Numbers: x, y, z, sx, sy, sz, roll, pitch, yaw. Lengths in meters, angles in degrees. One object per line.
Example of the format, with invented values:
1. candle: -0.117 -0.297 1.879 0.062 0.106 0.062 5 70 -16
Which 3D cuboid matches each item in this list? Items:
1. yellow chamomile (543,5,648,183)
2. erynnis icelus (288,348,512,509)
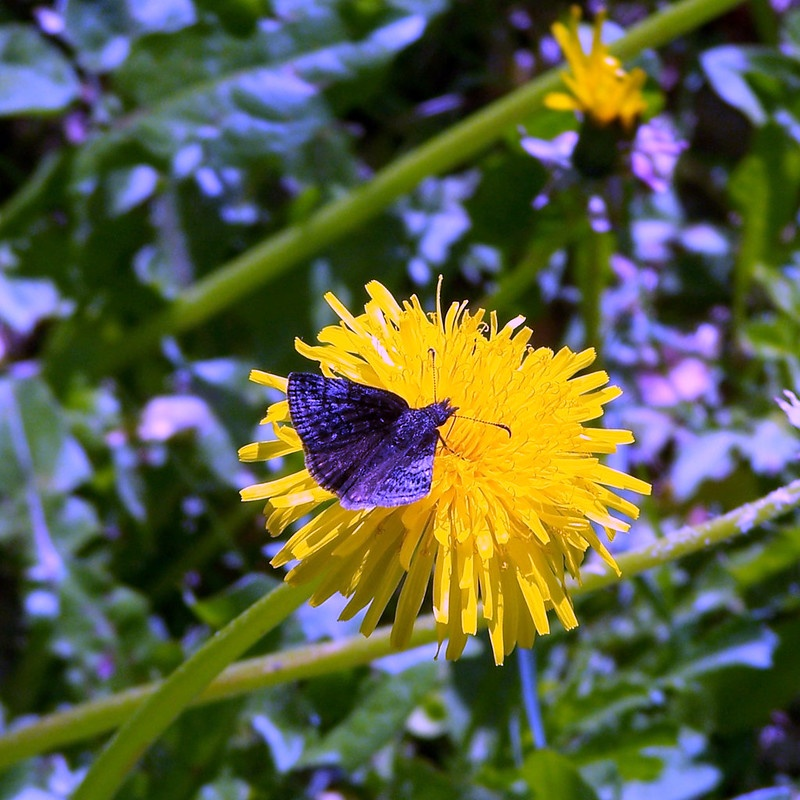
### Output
1. yellow chamomile: 0.261 -0.486 1.497 0.207 0.216 0.109 -30 60 -1
2. erynnis icelus: -0.014 0.051 1.116 0.171 0.090 0.151 13 54 43
